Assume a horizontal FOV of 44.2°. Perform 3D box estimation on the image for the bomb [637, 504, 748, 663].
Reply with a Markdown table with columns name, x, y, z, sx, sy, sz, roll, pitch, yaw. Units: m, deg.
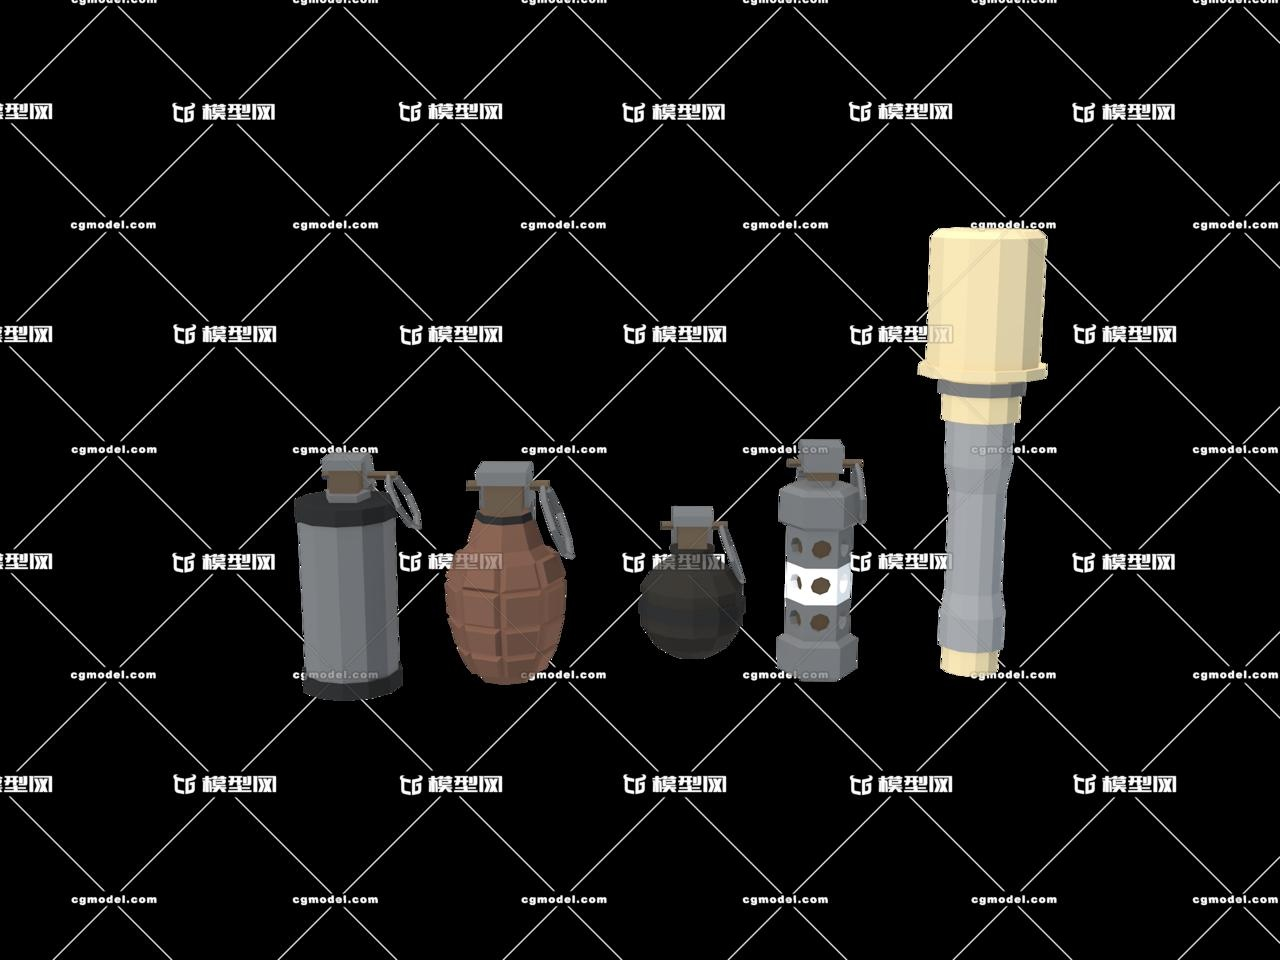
| name | x | y | z | sx | sy | sz | roll | pitch | yaw |
| --- | --- | --- | --- | --- | --- | --- | --- | --- | --- |
| bomb | 0.309 | 0.631 | 9.272 | 0.652 | 0.880 | 0.609 | 0 | 11 | -3 |

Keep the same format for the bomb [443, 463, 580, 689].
| name | x | y | z | sx | sy | sz | roll | pitch | yaw |
| --- | --- | --- | --- | --- | --- | --- | --- | --- | --- |
| bomb | -0.756 | 0.570 | 9.131 | 0.689 | 1.228 | 0.681 | -7 | 10 | -42 |

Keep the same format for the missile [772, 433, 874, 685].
| name | x | y | z | sx | sy | sz | roll | pitch | yaw |
| --- | --- | --- | --- | --- | --- | --- | --- | --- | --- |
| missile | 1.090 | 0.484 | 9.189 | 0.547 | 1.269 | 0.450 | -2 | 5 | -16 |

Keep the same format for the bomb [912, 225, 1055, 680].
| name | x | y | z | sx | sy | sz | roll | pitch | yaw |
| --- | --- | --- | --- | --- | --- | --- | --- | --- | --- |
| bomb | 2.001 | -0.088 | 9.160 | 0.805 | 2.502 | 0.816 | -2 | 7 | -39 |
